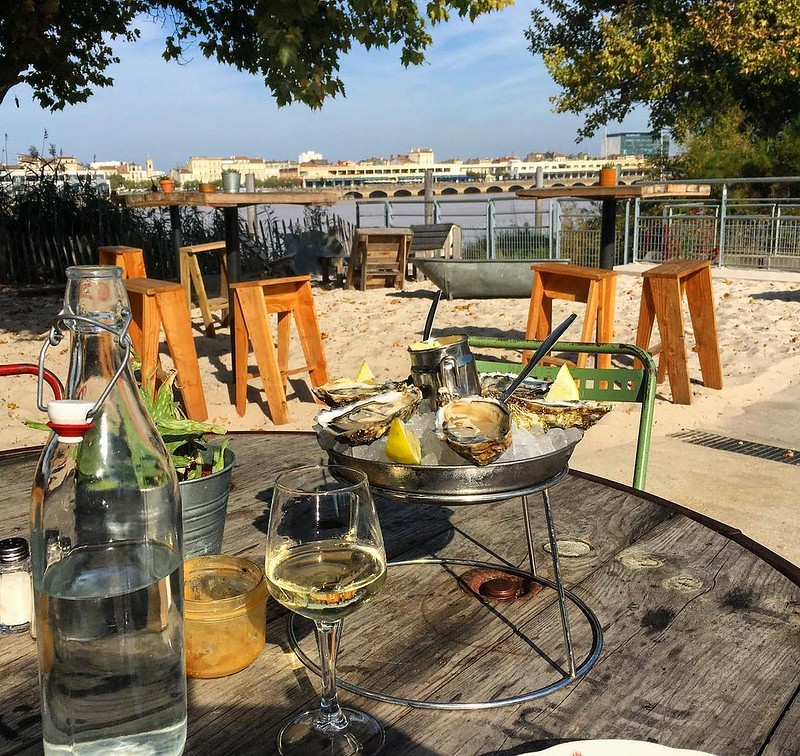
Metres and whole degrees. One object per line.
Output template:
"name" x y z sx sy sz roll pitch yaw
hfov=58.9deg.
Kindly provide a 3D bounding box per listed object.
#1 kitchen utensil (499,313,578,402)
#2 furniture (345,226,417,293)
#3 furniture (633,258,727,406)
"kitchen utensil" 0.233 -0.018 1.248 0.028 0.273 0.020 34 40 -2
"furniture" -0.432 -1.969 11.908 1.008 1.036 1.255 -3 8 -23
"furniture" 2.266 -0.388 5.771 0.627 1.106 0.728 8 16 33
